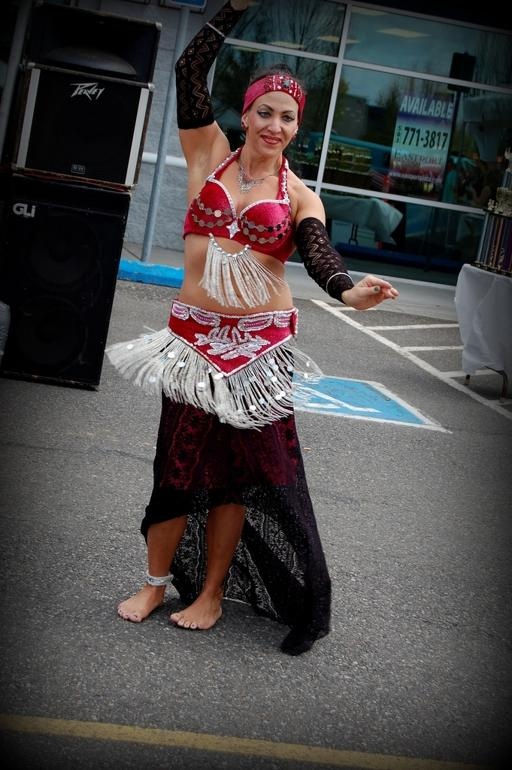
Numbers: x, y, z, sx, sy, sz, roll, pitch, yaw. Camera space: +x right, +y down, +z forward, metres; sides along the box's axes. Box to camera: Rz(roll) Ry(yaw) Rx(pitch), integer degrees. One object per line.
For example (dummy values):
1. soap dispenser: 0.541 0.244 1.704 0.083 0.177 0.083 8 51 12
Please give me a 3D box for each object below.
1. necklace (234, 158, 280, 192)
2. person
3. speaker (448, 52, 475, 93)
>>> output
1. necklace: -0.001 -0.577 1.626 0.113 0.014 0.056 -25 65 -16
2. person: -0.019 -0.120 1.805 0.814 1.627 0.575 15 4 21
3. speaker: 3.697 -5.649 10.662 0.458 0.702 0.158 13 4 7
